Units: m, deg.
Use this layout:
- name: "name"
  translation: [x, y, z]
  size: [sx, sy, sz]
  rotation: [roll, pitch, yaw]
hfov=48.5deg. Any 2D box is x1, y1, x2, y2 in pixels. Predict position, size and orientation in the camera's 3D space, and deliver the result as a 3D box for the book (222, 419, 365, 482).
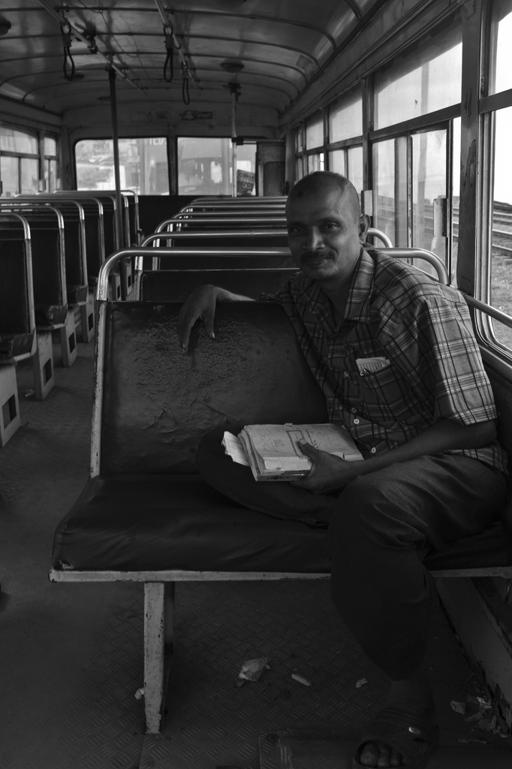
- name: "book"
  translation: [0.100, 0.163, 1.544]
  size: [0.207, 0.054, 0.191]
  rotation: [0, 29, -19]
